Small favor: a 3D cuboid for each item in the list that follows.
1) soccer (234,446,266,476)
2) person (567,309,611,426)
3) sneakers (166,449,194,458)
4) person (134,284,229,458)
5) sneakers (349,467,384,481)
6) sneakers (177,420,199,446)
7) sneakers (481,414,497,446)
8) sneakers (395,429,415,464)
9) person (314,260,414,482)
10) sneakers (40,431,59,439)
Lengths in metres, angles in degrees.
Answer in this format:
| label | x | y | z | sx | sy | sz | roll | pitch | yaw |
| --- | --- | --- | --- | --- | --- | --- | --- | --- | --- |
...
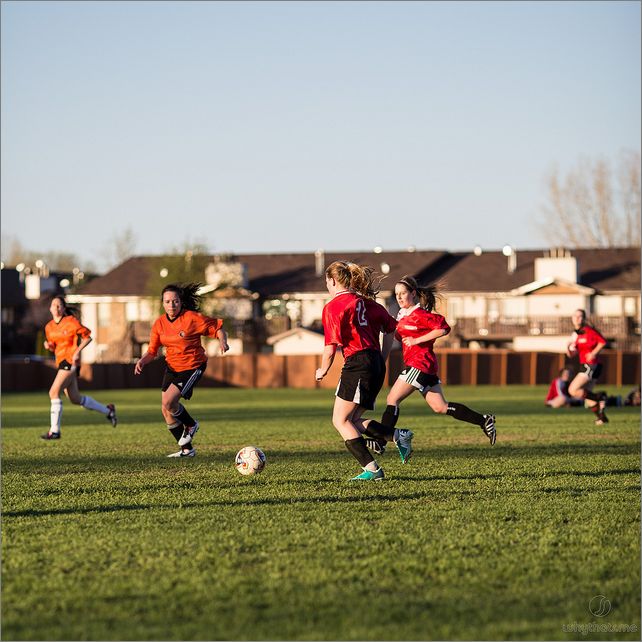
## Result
| label | x | y | z | sx | sy | sz | roll | pitch | yaw |
| --- | --- | --- | --- | --- | --- | --- | --- | --- | --- |
| soccer | -0.678 | 1.332 | 13.302 | 0.247 | 0.255 | 0.247 | 25 | -9 | -19 |
| person | 3.628 | 0.634 | 19.113 | 0.610 | 1.617 | 0.589 | -1 | 3 | -13 |
| sneakers | -1.477 | 1.421 | 14.933 | 0.312 | 0.141 | 0.109 | 1 | -4 | 0 |
| person | -1.439 | 0.539 | 14.673 | 0.889 | 1.851 | 0.803 | -3 | 2 | -12 |
| sneakers | 0.430 | 1.391 | 12.646 | 0.336 | 0.144 | 0.118 | 0 | -3 | 3 |
| sneakers | -1.386 | 1.206 | 14.989 | 0.113 | 0.330 | 0.152 | 14 | -31 | 12 |
| sneakers | 1.784 | 1.108 | 14.514 | 0.157 | 0.363 | 0.118 | -14 | 7 | -5 |
| sneakers | 0.813 | 1.159 | 13.371 | 0.197 | 0.383 | 0.125 | -3 | 16 | 2 |
| person | 0.351 | 0.466 | 12.640 | 0.549 | 2.007 | 1.340 | -2 | 2 | 20 |
| sneakers | -3.313 | 1.426 | 17.265 | 0.191 | 0.084 | 0.107 | 4 | -3 | -1 |
